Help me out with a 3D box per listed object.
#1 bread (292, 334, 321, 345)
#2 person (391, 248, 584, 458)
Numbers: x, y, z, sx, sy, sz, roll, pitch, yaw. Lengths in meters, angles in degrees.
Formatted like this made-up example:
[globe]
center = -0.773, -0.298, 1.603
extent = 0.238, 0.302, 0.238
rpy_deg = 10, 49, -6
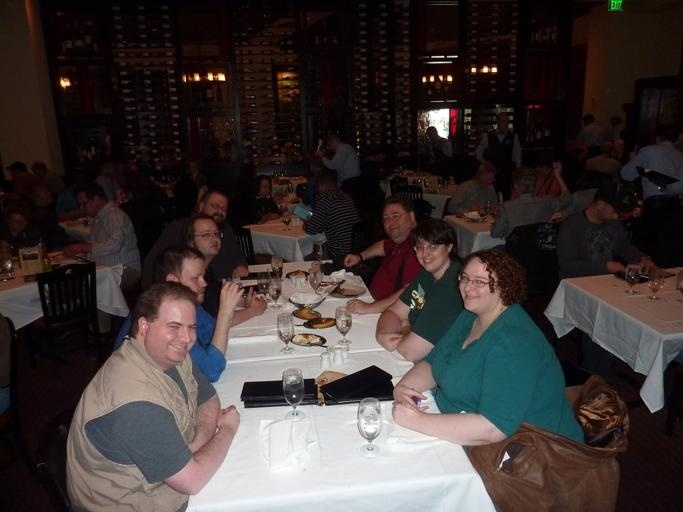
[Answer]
[bread]
center = -0.193, 0.483, 2.963
extent = 0.178, 0.038, 0.117
rpy_deg = -4, 14, 9
[person]
center = 0.723, 0.473, 2.588
extent = 0.996, 0.992, 0.943
rpy_deg = -11, 9, -40
